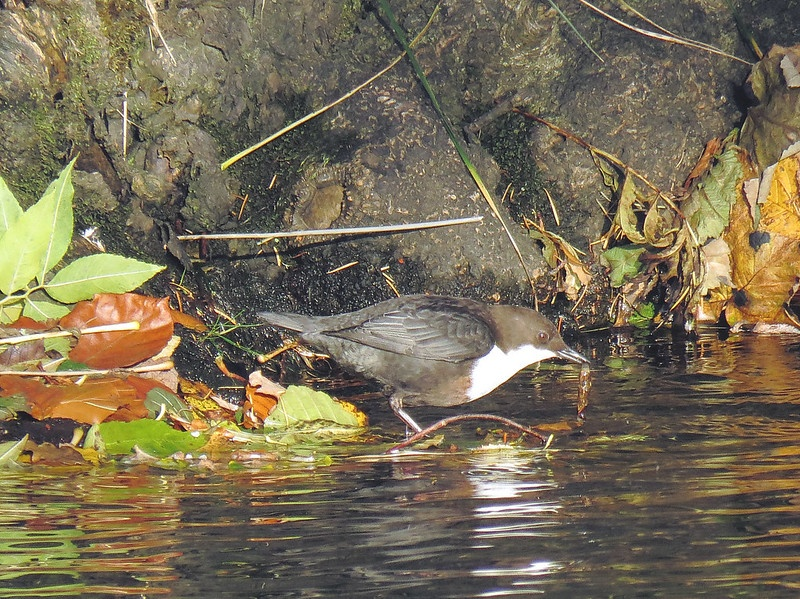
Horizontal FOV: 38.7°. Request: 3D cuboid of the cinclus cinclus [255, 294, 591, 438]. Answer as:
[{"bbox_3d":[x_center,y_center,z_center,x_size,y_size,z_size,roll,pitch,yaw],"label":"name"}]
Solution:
[{"bbox_3d":[0.178,0.362,6.604,1.642,0.805,0.523,4,-12,-17],"label":"cinclus cinclus"}]
